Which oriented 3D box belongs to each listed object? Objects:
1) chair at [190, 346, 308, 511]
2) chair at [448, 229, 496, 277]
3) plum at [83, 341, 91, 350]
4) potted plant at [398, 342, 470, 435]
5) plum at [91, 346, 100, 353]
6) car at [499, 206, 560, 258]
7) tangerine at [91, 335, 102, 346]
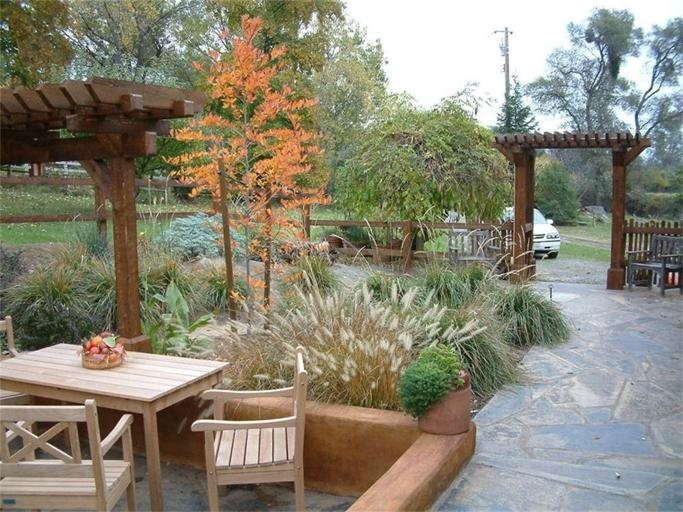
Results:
[{"bbox_3d":[-0.644,1.406,4.678,1.132,1.647,1.160,1,2,-4],"label":"chair"},{"bbox_3d":[2.160,-0.060,9.411,0.857,0.744,0.490,0,3,2],"label":"chair"},{"bbox_3d":[-2.132,0.753,4.717,0.068,0.085,0.070,1,-7,0],"label":"plum"},{"bbox_3d":[0.739,1.063,4.454,0.596,0.651,0.372,-2,4,-2],"label":"potted plant"},{"bbox_3d":[-2.049,0.780,4.673,0.044,0.056,0.045,4,8,5],"label":"plum"},{"bbox_3d":[5.283,-0.709,14.949,1.298,1.108,2.912,0,-2,11],"label":"car"},{"bbox_3d":[-2.053,0.712,4.751,0.079,0.101,0.079,1,1,2],"label":"tangerine"}]
